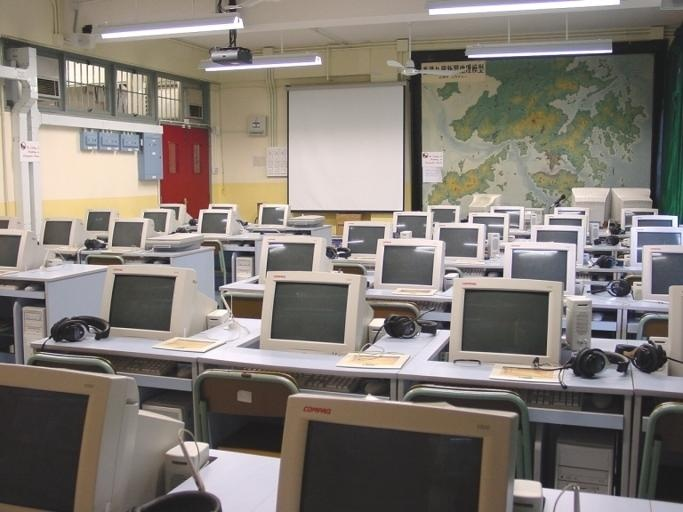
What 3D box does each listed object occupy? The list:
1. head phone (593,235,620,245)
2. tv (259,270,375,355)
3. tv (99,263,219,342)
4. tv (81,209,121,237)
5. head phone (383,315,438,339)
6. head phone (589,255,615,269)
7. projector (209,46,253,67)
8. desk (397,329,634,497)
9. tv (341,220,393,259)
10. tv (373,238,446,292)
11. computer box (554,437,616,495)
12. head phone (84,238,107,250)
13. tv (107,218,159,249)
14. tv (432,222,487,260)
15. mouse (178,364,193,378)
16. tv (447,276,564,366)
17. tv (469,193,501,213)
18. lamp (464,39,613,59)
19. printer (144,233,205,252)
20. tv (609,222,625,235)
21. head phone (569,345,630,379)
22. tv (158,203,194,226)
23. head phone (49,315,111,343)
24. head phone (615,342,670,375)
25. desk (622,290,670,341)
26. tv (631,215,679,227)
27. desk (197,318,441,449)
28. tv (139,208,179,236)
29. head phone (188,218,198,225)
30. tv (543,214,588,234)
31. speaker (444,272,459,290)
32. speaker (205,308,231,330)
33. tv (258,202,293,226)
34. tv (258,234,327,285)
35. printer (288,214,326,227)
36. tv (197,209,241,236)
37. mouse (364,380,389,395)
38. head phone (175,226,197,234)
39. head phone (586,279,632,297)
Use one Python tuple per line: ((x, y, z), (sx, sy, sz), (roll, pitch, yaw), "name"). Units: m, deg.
((3.383, -0.191, 7.271), (0.285, 0.119, 0.171), (-1, 0, 13), "head phone")
((-0.139, 0.287, 2.986), (0.561, 0.456, 0.406), (0, -2, 17), "tv")
((-1.061, 0.269, 3.230), (0.445, 0.353, 0.461), (1, 1, 14), "tv")
((-3.071, -0.410, 7.253), (0.368, 0.353, 0.206), (1, -3, 10), "tv")
((0.385, 0.367, 3.197), (0.198, 0.086, 0.170), (1, 0, -37), "head phone")
((2.528, 0.049, 5.508), (0.211, 0.110, 0.290), (2, 5, 24), "head phone")
((-1.340, -2.429, 6.900), (0.446, 0.171, 0.220), (1, 5, 15), "projector")
((1.015, 0.612, 2.713), (0.638, 0.392, 0.731), (3, 8, 21), "desk")
((0.288, -0.189, 5.880), (0.617, 0.555, 0.340), (2, 5, 18), "tv")
((0.556, 0.064, 4.578), (0.634, 0.534, 0.372), (1, 1, 19), "tv")
((1.035, 0.949, 2.546), (0.267, 0.251, 0.195), (7, -4, 1), "computer box")
((-2.914, -0.146, 6.773), (0.124, 0.084, 0.229), (1, 0, 5), "head phone")
((-2.493, -0.197, 6.787), (0.488, 0.408, 0.360), (0, 3, 9), "tv")
((1.169, -0.143, 5.645), (0.607, 0.530, 0.336), (1, 4, 17), "tv")
((-0.825, 0.605, 2.998), (0.049, 0.062, 0.087), (-1, -1, -15), "mouse")
((0.781, 0.300, 2.827), (0.691, 0.579, 0.365), (2, 0, 16), "tv")
((2.342, -0.874, 9.401), (0.484, 0.241, 0.703), (2, 11, 20), "tv")
((2.754, -2.934, 8.036), (1.928, 0.216, 0.306), (1, 5, 9), "lamp")
((-1.913, -0.150, 6.522), (0.635, 0.180, 0.543), (-2, 5, -20), "printer")
((3.700, -0.362, 7.663), (0.250, 0.131, 0.188), (-2, 3, -39), "tv")
((1.167, 0.469, 2.561), (0.256, 0.103, 0.123), (4, 8, -41), "head phone")
((-2.607, -0.648, 8.891), (0.592, 0.416, 0.328), (4, 12, 32), "tv")
((-1.463, 0.404, 3.181), (0.254, 0.095, 0.161), (-2, 17, -42), "head phone")
((1.360, 0.456, 2.649), (0.136, 0.101, 0.168), (4, 2, -40), "head phone")
((2.173, 0.402, 4.093), (0.451, 0.297, 0.296), (-2, 4, -23), "desk")
((3.789, -0.424, 6.882), (0.372, 0.211, 0.316), (3, 4, 5), "tv")
((-0.157, 0.593, 2.840), (0.619, 0.399, 0.632), (3, 8, 20), "desk")
((-2.496, -0.543, 7.825), (0.469, 0.397, 0.356), (3, 10, 15), "tv")
((-2.533, -0.559, 9.742), (0.138, 0.135, 0.159), (3, 2, 22), "head phone")
((2.586, -0.411, 6.530), (0.585, 0.315, 0.417), (4, 3, 22), "tv")
((0.789, 0.184, 4.107), (0.068, 0.091, 0.128), (3, 9, 24), "speaker")
((-0.749, 0.376, 3.470), (0.089, 0.112, 0.157), (1, 6, 11), "speaker")
((-1.052, -0.635, 8.823), (0.544, 0.547, 0.304), (0, -3, 12), "tv")
((-0.361, -0.050, 4.442), (0.476, 0.384, 0.341), (2, 5, 15), "tv")
((-0.527, -0.504, 8.418), (0.536, 0.151, 0.361), (-1, 5, -12), "printer")
((-1.768, -0.485, 8.187), (0.615, 0.367, 0.549), (-1, 5, -9), "tv")
((0.173, 0.639, 2.758), (0.071, 0.040, 0.146), (3, 2, 10), "mouse")
((-2.350, -0.395, 8.564), (0.195, 0.083, 0.268), (0, 2, 2), "head phone")
((2.113, 0.258, 4.469), (0.276, 0.133, 0.208), (-5, 0, 22), "head phone")
